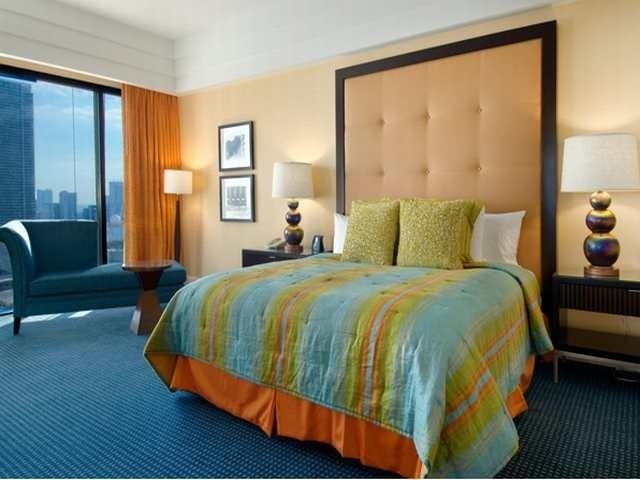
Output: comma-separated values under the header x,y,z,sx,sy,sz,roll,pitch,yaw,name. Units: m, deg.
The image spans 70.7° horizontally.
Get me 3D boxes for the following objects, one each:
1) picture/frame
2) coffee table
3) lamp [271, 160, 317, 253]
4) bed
x,y,z,sx,sy,sz,roll,pitch,yaw,name
-1.070,-0.859,5.691,0.711,1.250,0.235,9,17,33,picture/frame
-1.640,0.571,4.584,0.549,0.797,0.585,1,0,-22,coffee table
-0.305,-0.370,4.903,0.426,0.937,0.712,2,14,13,lamp
0.585,0.605,2.876,1.336,0.404,1.400,1,3,36,bed
